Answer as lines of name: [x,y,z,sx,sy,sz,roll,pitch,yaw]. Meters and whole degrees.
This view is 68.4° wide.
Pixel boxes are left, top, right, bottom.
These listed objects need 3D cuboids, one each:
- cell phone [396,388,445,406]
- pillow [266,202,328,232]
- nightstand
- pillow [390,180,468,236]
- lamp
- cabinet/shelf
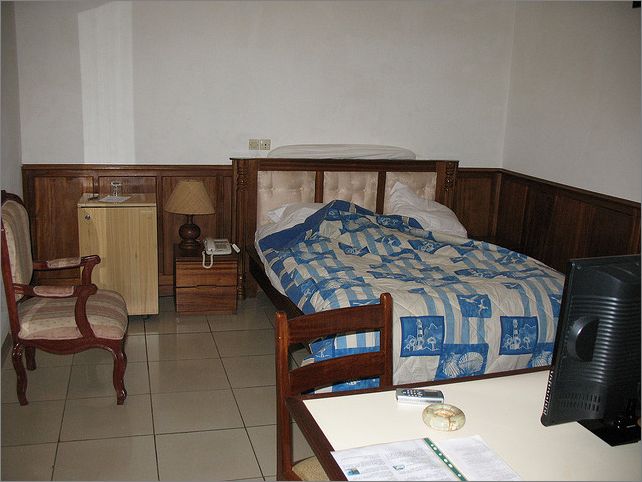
cell phone: [0.372,0.575,1.770,0.125,0.034,0.071,1,11,-3]
pillow: [-0.260,-0.273,4.734,0.362,0.114,0.334,-23,23,-2]
nightstand: [-1.129,0.554,4.790,0.706,0.587,0.772,4,-23,-21]
pillow: [1.113,-0.330,4.894,0.547,0.197,0.631,21,20,-4]
lamp: [-1.295,-0.279,4.643,0.437,0.705,0.474,-3,21,-26]
cabinet/shelf: [-1.838,0.092,4.542,0.745,1.181,0.654,4,21,-8]
